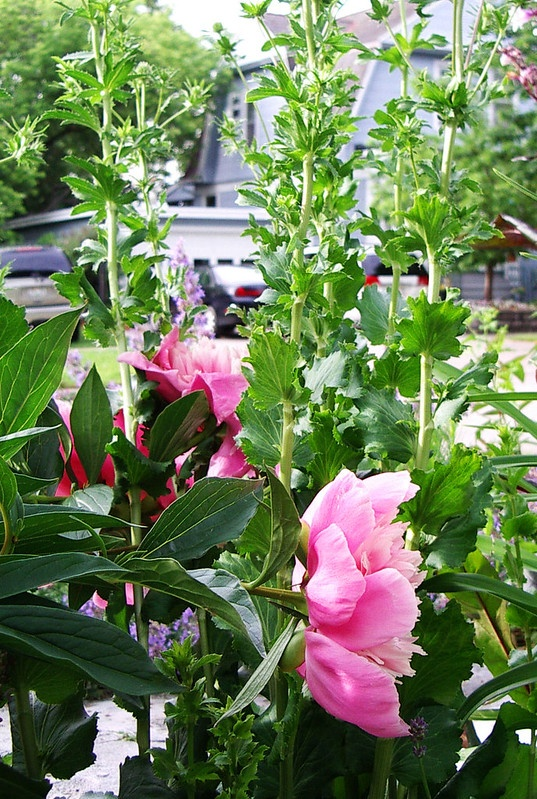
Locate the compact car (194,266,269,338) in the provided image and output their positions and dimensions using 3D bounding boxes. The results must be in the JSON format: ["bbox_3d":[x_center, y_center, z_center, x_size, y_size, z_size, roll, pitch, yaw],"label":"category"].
[{"bbox_3d":[-0.477,-1.372,11.954,1.111,0.798,2.283,0,12,-1],"label":"compact car"}]

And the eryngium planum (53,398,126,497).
[{"bbox_3d":[-0.132,0.032,0.612,0.072,0.064,0.026,-6,3,-3],"label":"eryngium planum"}]
